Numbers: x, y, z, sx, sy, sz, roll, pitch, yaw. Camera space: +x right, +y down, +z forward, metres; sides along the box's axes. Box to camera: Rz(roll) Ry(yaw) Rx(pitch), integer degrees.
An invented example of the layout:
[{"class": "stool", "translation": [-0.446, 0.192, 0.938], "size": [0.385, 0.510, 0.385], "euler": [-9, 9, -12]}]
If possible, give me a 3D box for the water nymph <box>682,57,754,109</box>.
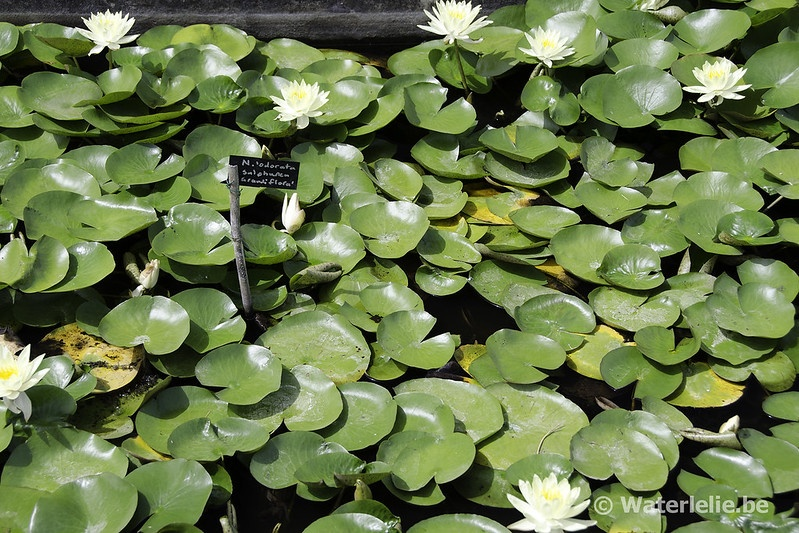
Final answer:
[{"class": "water nymph", "translation": [1.876, -1.084, 4.576], "size": [0.331, 0.144, 0.342], "euler": [-28, 45, 0]}]
